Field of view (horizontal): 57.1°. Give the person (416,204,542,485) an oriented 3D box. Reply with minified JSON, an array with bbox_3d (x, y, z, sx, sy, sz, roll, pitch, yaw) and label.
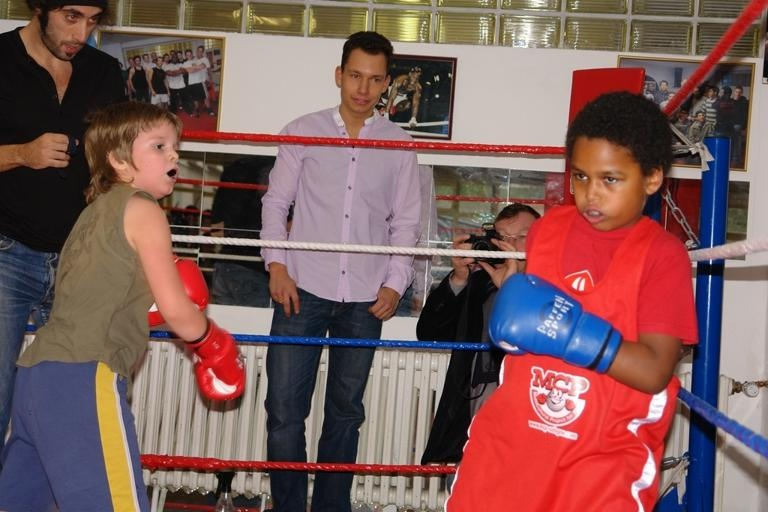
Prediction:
[{"bbox_3d":[0.379,0.435,3.372,0.390,1.170,0.952,11,1,8],"label":"person"}]

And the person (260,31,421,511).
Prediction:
[{"bbox_3d":[-0.190,0.046,3.162,0.715,2.110,0.664,1,11,-10],"label":"person"}]

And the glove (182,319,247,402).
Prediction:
[{"bbox_3d":[-0.559,0.377,2.462,0.198,0.275,0.123,-17,10,26],"label":"glove"}]

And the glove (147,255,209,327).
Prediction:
[{"bbox_3d":[-0.685,0.120,2.334,0.189,0.197,0.150,18,-27,29],"label":"glove"}]

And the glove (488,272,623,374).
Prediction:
[{"bbox_3d":[0.491,0.201,2.083,0.361,0.232,0.143,22,-8,12],"label":"glove"}]
